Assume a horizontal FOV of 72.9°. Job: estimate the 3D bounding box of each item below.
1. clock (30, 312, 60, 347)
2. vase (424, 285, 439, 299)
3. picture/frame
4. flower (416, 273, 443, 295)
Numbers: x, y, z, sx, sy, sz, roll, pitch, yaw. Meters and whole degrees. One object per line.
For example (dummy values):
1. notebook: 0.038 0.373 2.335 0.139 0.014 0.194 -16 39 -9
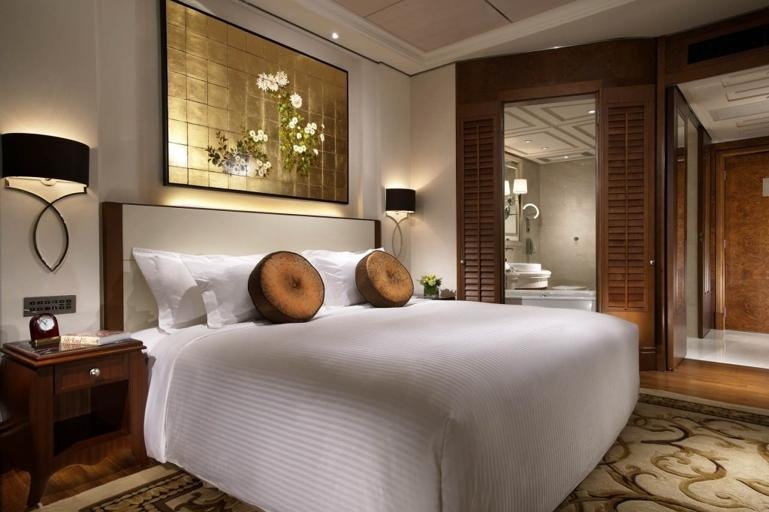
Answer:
1. clock: -2.230 0.493 3.419 0.130 0.245 0.196 -5 -5 30
2. vase: 0.469 0.353 5.163 0.120 0.116 0.118 3 -5 -32
3. picture/frame: -1.206 -1.383 4.632 0.041 1.380 1.914 1 -2 41
4. flower: 0.458 0.291 5.212 0.205 0.214 0.221 1 -2 22
